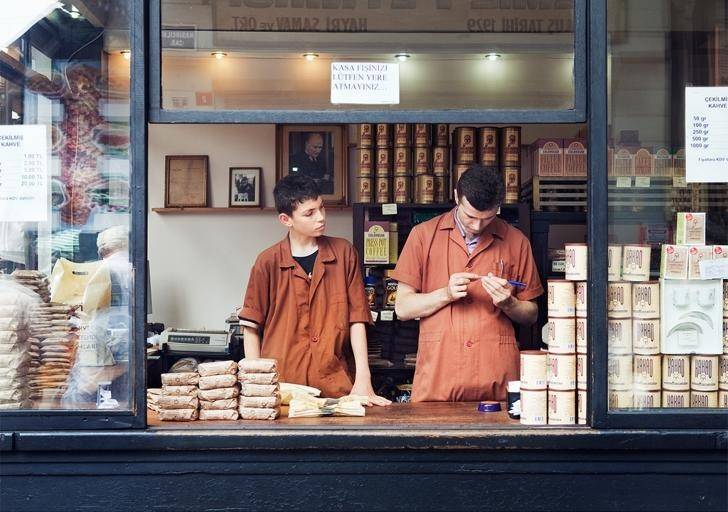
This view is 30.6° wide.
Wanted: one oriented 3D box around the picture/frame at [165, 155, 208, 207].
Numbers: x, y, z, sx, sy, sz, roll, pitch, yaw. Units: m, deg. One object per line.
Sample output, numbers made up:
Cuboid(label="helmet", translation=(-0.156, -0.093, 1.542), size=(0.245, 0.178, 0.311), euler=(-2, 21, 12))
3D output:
Cuboid(label="picture/frame", translation=(-1.099, -0.448, 8.213), size=(0.330, 0.388, 0.031), euler=(0, -13, -3))

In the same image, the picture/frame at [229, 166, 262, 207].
Cuboid(label="picture/frame", translation=(-0.746, -0.416, 8.208), size=(0.250, 0.295, 0.013), euler=(0, -11, -5))

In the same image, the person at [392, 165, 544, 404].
Cuboid(label="person", translation=(0.419, 0.127, 5.664), size=(0.631, 1.001, 0.424), euler=(0, -2, 6))
